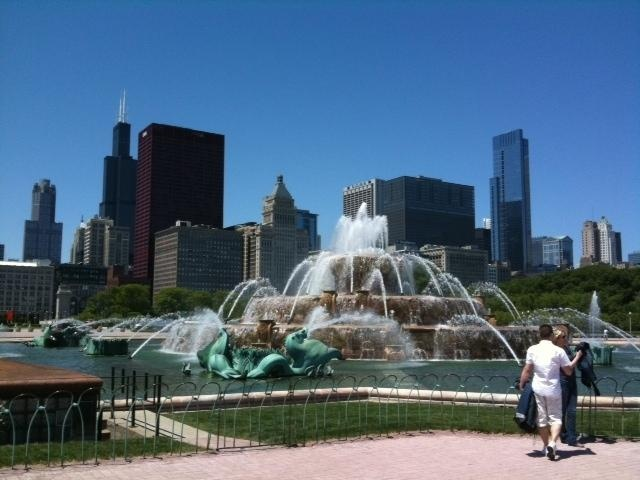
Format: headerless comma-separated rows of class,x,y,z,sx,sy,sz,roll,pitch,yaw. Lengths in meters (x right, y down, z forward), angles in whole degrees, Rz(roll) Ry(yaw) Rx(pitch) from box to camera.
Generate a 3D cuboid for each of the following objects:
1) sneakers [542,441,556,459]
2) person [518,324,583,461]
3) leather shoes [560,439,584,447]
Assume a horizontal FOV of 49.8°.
sneakers,4.679,4.334,14.094,0.194,0.448,0.197,-7,3,36
person,4.762,3.181,14.628,0.930,2.699,1.160,-1,-3,32
leather shoes,5.576,4.489,15.149,0.399,0.152,0.134,-2,-5,7
